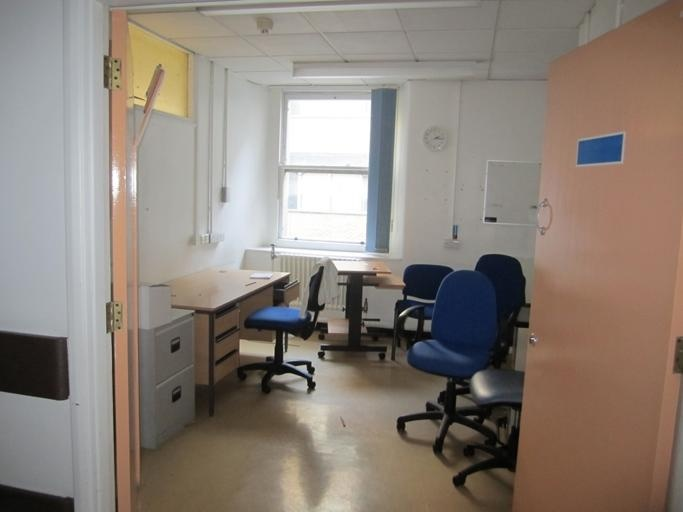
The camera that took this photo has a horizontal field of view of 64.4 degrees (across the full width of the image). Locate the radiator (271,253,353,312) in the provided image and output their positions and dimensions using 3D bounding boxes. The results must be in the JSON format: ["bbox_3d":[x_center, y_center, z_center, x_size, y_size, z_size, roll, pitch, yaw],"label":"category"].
[{"bbox_3d":[-0.305,0.246,5.260,0.604,0.462,0.065,2,3,15],"label":"radiator"}]

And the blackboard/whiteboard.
[{"bbox_3d":[1.743,-0.653,5.608,0.541,0.661,0.101,4,11,8],"label":"blackboard/whiteboard"}]

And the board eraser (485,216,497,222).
[{"bbox_3d":[1.553,-0.387,5.656,0.087,0.047,0.022,2,8,3],"label":"board eraser"}]

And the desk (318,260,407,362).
[{"bbox_3d":[0.238,0.555,5.789,0.769,0.882,1.238,1,2,0],"label":"desk"}]

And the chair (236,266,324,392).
[{"bbox_3d":[-0.514,0.576,4.599,0.664,1.033,0.680,3,7,4],"label":"chair"}]

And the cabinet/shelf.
[{"bbox_3d":[-1.171,0.822,3.657,0.130,0.800,0.493,6,12,19],"label":"cabinet/shelf"}]

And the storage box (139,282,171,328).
[{"bbox_3d":[-1.051,0.276,3.029,0.130,0.252,0.261,2,3,5],"label":"storage box"}]
